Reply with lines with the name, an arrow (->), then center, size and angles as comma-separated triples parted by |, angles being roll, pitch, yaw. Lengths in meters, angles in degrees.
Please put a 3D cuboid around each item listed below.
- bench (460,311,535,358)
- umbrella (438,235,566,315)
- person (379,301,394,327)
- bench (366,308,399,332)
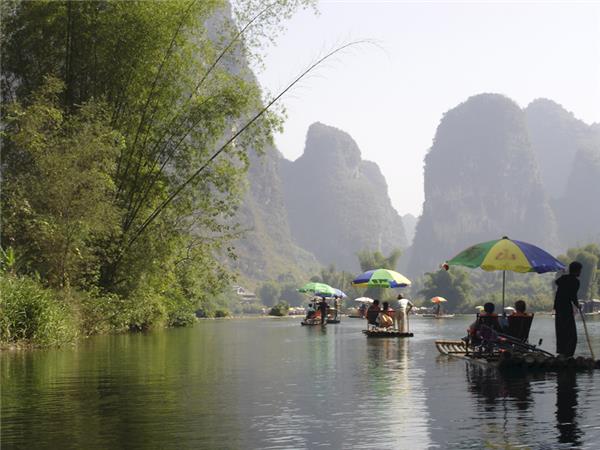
bench -> 5.881, 3.276, 22.723 | 1.169, 1.014, 2.052 | 2, -9, -11
umbrella -> 6.465, 1.352, 24.158 | 2.713, 1.764, 2.751 | 1, -9, 1
person -> 3.961, 4.065, 34.946 | 0.632, 1.224, 1.883 | -1, -12, 7
bench -> 3.844, 4.465, 35.514 | 0.996, 1.036, 1.464 | -4, -16, 16
